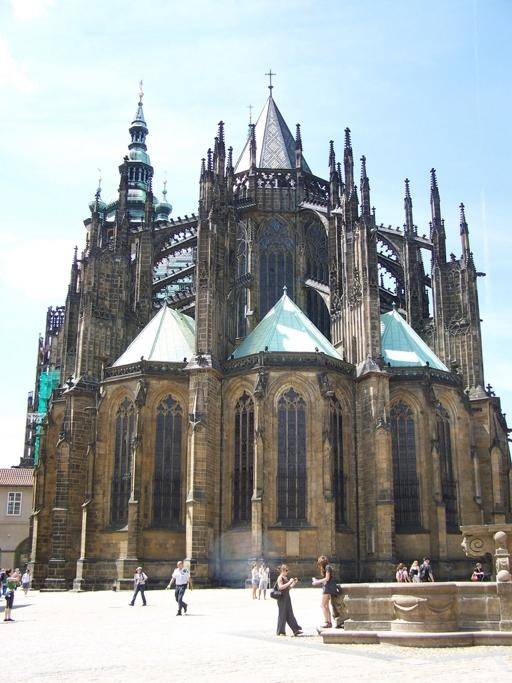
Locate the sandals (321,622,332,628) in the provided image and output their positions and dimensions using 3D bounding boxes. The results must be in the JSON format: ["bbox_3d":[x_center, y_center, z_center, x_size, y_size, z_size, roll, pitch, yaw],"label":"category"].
[{"bbox_3d":[1.244,5.156,14.973,0.223,0.094,0.075,11,-31,-12],"label":"sandals"}]
